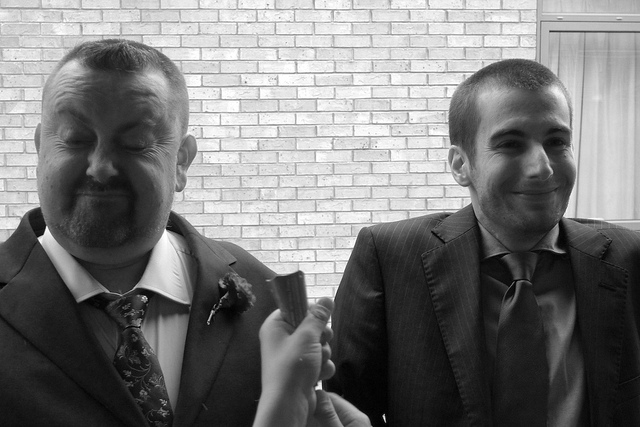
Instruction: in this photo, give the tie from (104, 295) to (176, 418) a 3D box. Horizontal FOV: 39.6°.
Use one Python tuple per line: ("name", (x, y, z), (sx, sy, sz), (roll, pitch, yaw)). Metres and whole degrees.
("tie", (-0.742, 0.578, 3.632), (0.268, 0.478, 0.141), (1, 0, -15))
